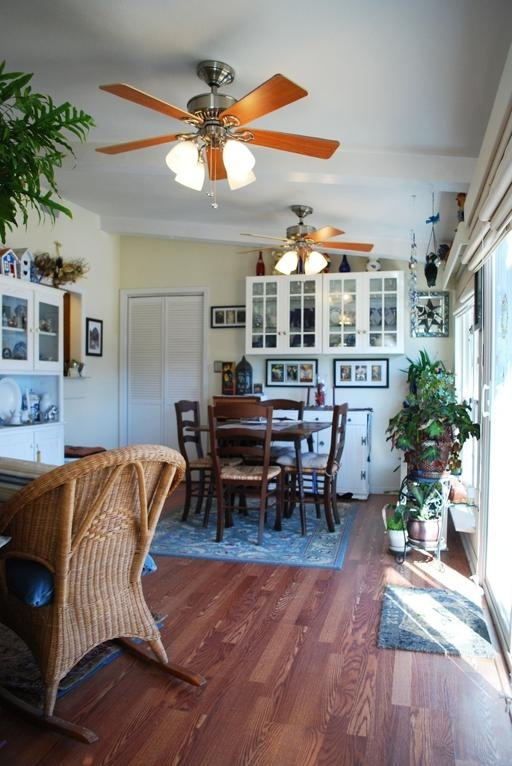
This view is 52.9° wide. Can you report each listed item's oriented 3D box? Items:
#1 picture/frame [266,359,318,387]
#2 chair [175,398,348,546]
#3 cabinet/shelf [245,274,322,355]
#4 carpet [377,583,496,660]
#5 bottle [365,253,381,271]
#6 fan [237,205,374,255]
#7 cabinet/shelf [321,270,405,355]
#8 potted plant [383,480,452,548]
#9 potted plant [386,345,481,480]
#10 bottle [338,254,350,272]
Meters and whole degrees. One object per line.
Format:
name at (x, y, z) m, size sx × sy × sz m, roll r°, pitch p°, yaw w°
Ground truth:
picture/frame at (0.352, -0.112, 5.282) m, size 0.521 × 0.278 × 0.041 m, roll 0°, pitch -2°, yaw 14°
chair at (-0.061, 0.581, 3.895) m, size 1.016 × 0.828 × 1.054 m, roll 0°, pitch -3°, yaw -11°
cabinet/shelf at (0.290, -0.671, 5.035) m, size 0.729 × 0.760 × 0.303 m, roll 1°, pitch 1°, yaw 14°
carpet at (0.761, 1.018, 2.249) m, size 0.438 × 0.019 × 0.708 m, roll 0°, pitch -2°, yaw 17°
bottle at (1.104, -1.154, 4.916) m, size 0.116 × 0.168 × 0.159 m, roll -2°, pitch 7°, yaw 1°
fan at (0.437, -1.303, 4.317) m, size 0.544 × 0.209 × 0.551 m, roll 4°, pitch 2°, yaw -33°
cabinet/shelf at (1.024, -0.657, 4.839) m, size 0.737 × 0.771 × 0.307 m, roll 0°, pitch 1°, yaw 10°
potted plant at (0.962, 0.840, 3.228) m, size 0.407 × 0.466 × 0.457 m, roll -1°, pitch 1°, yaw 3°
potted plant at (1.024, 0.241, 3.024) m, size 0.455 × 0.634 × 0.478 m, roll 0°, pitch -2°, yaw 15°
bottle at (0.853, -1.158, 5.006) m, size 0.110 × 0.209 × 0.202 m, roll 0°, pitch -2°, yaw 8°
